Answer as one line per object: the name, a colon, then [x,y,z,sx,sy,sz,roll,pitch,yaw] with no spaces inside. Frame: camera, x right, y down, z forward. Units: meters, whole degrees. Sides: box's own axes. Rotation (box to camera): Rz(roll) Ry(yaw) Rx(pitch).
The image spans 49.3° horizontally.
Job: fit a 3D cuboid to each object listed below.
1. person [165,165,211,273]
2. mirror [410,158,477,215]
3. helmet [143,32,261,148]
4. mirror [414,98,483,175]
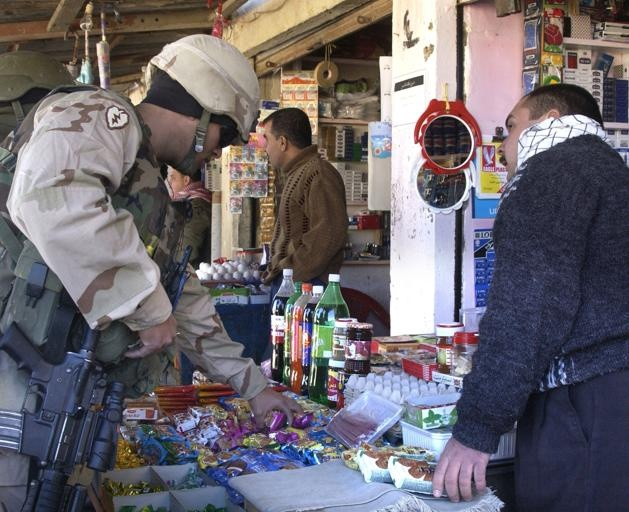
person: [-1.346,-0.551,7.156,0.474,0.528,1.647,1,-26,-8]
mirror: [0.684,-0.363,3.551,0.258,0.351,0.036,0,4,5]
helmet: [-0.336,-0.517,2.124,0.317,0.286,0.256,25,2,-21]
mirror: [0.695,-0.598,3.514,0.363,0.469,0.086,0,-1,-15]
